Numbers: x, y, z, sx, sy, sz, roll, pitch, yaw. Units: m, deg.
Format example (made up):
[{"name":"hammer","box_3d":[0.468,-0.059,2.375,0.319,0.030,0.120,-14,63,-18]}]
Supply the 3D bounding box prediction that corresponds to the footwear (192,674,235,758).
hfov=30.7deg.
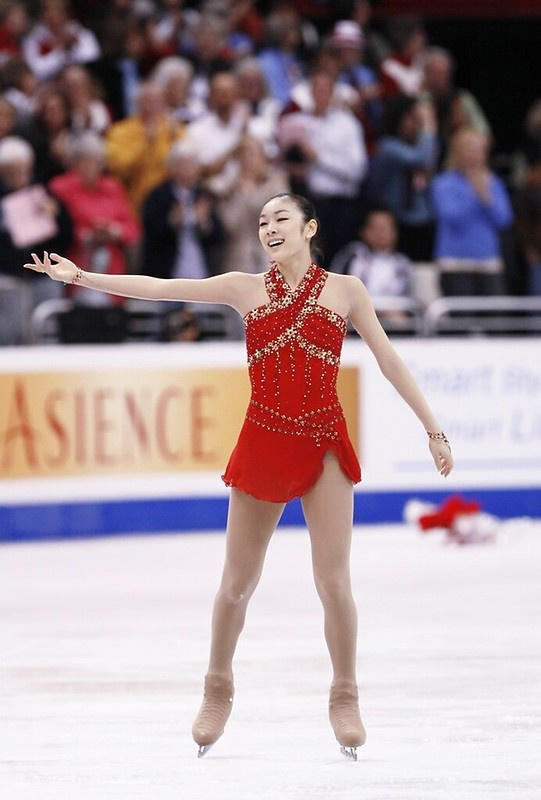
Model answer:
[{"name":"footwear","box_3d":[-0.154,0.843,2.635,0.097,0.186,0.205,0,2,2]}]

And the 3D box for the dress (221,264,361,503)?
[{"name":"dress","box_3d":[0.057,-0.040,2.726,0.374,0.677,0.214,0,3,-3]}]

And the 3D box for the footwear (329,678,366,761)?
[{"name":"footwear","box_3d":[0.197,0.837,2.594,0.068,0.083,0.197,-6,29,-5]}]
